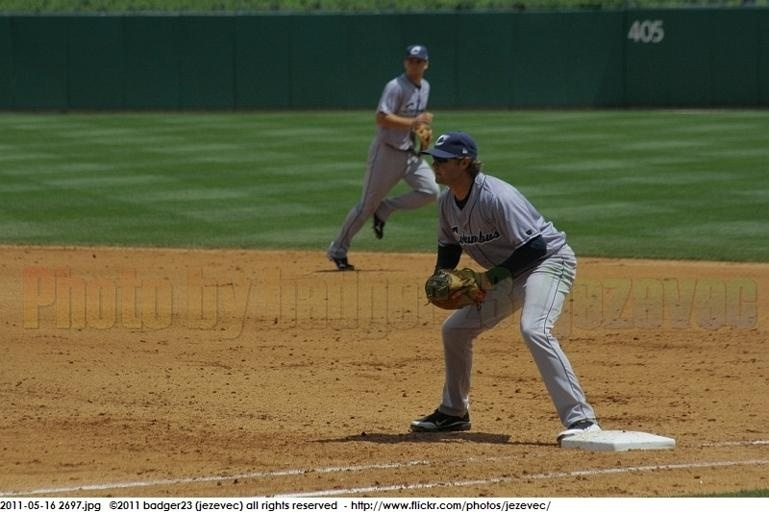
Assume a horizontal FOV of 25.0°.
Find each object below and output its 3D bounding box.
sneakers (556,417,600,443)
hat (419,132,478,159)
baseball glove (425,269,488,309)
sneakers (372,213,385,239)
[{"bbox_3d":[2.446,2.155,21.910,0.521,0.194,0.250,-12,2,4],"label":"sneakers"},{"bbox_3d":[0.867,-1.421,22.051,0.536,0.236,0.361,0,2,-5],"label":"hat"},{"bbox_3d":[0.912,0.396,22.037,0.755,0.492,0.218,-1,5,1],"label":"baseball glove"},{"bbox_3d":[-0.074,-0.450,25.874,0.181,0.387,0.153,-6,10,0],"label":"sneakers"}]
